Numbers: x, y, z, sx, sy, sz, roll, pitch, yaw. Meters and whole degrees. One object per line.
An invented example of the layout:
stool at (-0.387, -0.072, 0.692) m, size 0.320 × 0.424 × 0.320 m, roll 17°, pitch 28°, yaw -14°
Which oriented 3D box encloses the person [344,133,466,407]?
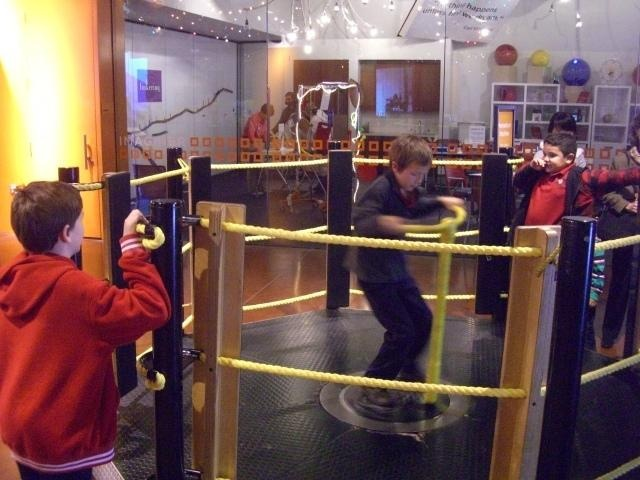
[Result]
person at (0.443, 0.148, 2.778) m, size 0.413 × 1.369 × 0.585 m, roll 9°, pitch 13°, yaw 42°

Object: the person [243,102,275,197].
person at (-0.741, -1.184, 6.584) m, size 0.438 × 1.272 × 0.491 m, roll 2°, pitch 32°, yaw -1°
